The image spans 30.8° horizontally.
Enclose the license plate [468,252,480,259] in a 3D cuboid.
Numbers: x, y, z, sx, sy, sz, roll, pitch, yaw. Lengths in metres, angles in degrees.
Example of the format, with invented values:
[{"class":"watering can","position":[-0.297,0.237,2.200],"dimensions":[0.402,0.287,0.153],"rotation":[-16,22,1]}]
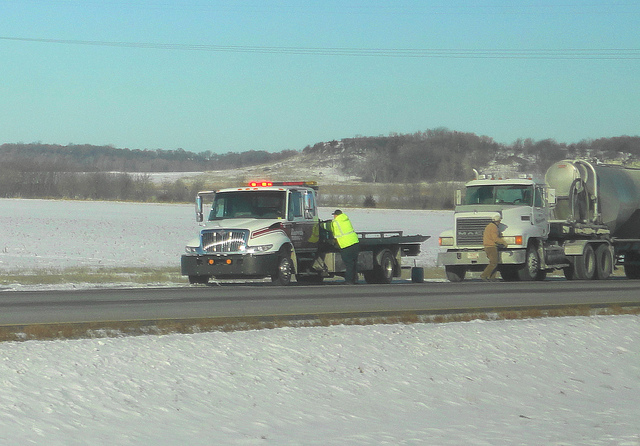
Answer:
[{"class":"license plate","position":[5.246,1.097,39.856],"dimensions":[0.211,0.200,0.051],"rotation":[1,8,14]}]

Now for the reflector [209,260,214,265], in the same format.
[{"class":"reflector","position":[-3.434,1.211,36.421],"dimensions":[0.143,0.142,0.046],"rotation":[-7,1,5]}]

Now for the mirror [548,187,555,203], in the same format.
[{"class":"mirror","position":[8.192,-0.965,41.127],"dimensions":[0.222,0.494,0.402],"rotation":[0,0,12]}]

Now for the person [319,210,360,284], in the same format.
[{"class":"person","position":[0.728,0.777,37.534],"dimensions":[1.068,2.395,1.176],"rotation":[0,0,1]}]

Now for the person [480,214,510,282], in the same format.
[{"class":"person","position":[5.918,0.844,39.377],"dimensions":[0.850,2.276,0.794],"rotation":[0,0,12]}]

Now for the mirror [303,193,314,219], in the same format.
[{"class":"mirror","position":[-0.383,-0.559,38.172],"dimensions":[0.188,0.844,0.586],"rotation":[0,0,22]}]

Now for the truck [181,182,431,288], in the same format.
[{"class":"truck","position":[-0.508,0.452,38.837],"dimensions":[3.310,2.690,7.534],"rotation":[-5,-7,38]}]

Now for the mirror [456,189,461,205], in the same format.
[{"class":"mirror","position":[4.961,-0.920,41.667],"dimensions":[0.159,0.476,0.569],"rotation":[0,0,7]}]

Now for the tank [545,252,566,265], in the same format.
[{"class":"tank","position":[8.340,1.234,41.090],"dimensions":[0.255,0.428,1.367],"rotation":[0,0,35]}]
